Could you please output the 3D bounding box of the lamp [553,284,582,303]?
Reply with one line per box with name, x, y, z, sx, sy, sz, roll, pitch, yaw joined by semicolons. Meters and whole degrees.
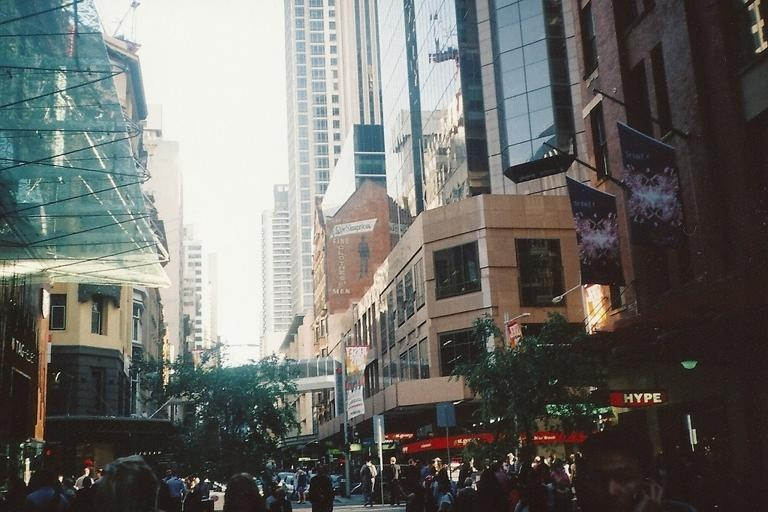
lamp;10.156;1.988;51.140;1.464;1.208;2.433;-7;-18;9
